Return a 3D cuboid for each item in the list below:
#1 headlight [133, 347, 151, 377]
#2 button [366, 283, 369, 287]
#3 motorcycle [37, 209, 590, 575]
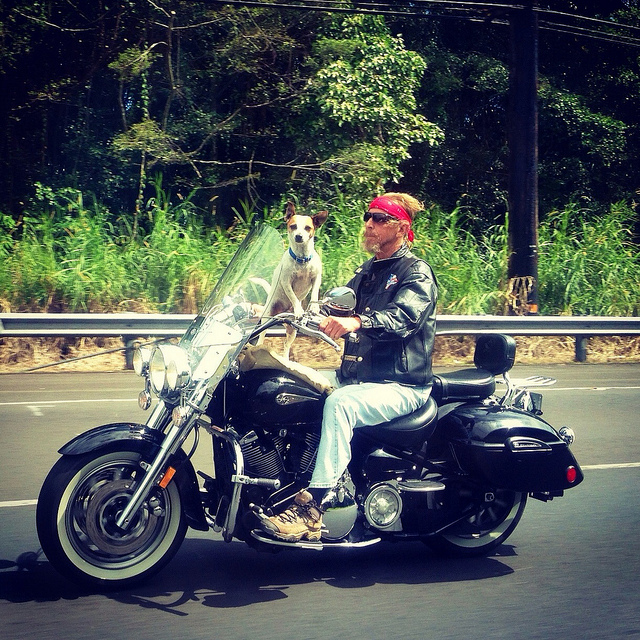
[{"bbox_3d":[-0.792,0.185,4.409,0.051,0.143,0.108,8,-11,-38],"label":"headlight"},{"bbox_3d":[0.259,-0.191,5.200,0.019,0.018,0.006,4,-7,-20],"label":"button"},{"bbox_3d":[-0.001,0.430,4.852,2.852,1.599,1.205,0,3,-27],"label":"motorcycle"}]
